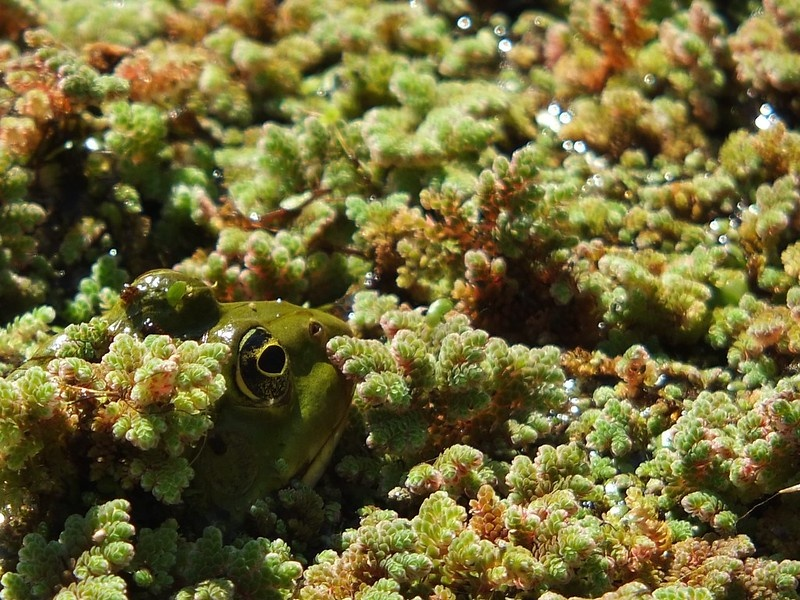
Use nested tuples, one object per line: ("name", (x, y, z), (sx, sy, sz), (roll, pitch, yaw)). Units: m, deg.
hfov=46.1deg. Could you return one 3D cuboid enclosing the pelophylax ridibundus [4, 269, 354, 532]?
("pelophylax ridibundus", (-0.451, 0.247, 2.601), (0.675, 0.370, 0.588), (-4, 57, -14))
